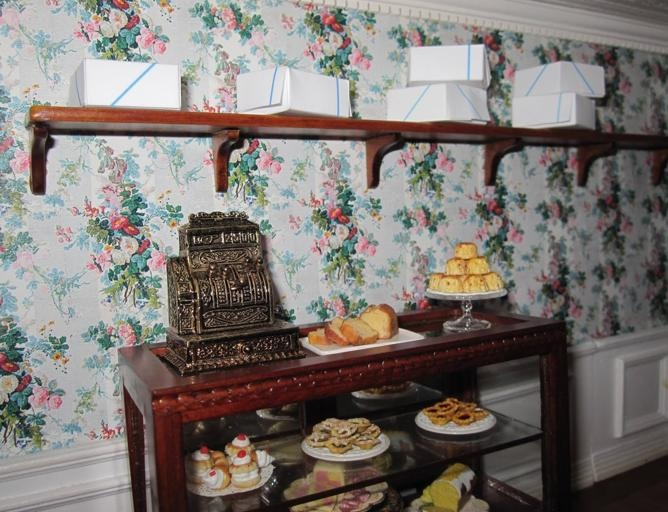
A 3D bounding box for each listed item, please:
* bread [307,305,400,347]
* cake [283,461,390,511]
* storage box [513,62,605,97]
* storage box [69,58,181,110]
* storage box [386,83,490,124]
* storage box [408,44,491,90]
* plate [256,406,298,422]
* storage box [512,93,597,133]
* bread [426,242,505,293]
[{"bbox_3d":[0.081,0.266,2.222,0.156,0.078,0.262,26,15,32],"label":"bread"},{"bbox_3d":[-0.007,0.812,2.153,0.231,0.072,0.241,13,10,32],"label":"cake"},{"bbox_3d":[1.019,-0.787,2.774,0.247,0.112,0.246,-2,3,-42],"label":"storage box"},{"bbox_3d":[-0.684,-0.561,2.013,0.281,0.126,0.193,-1,1,-25],"label":"storage box"},{"bbox_3d":[0.418,-0.619,2.511,0.233,0.086,0.241,3,10,29],"label":"storage box"},{"bbox_3d":[0.471,-0.774,2.571,0.326,0.150,0.176,0,-7,0],"label":"storage box"},{"bbox_3d":[-0.213,0.607,2.321,0.121,0.017,0.122,5,3,42],"label":"plate"},{"bbox_3d":[1.009,-0.643,2.736,0.200,0.121,0.271,-3,10,-21],"label":"storage box"},{"bbox_3d":[0.548,0.056,2.468,0.234,0.135,0.233,0,-1,-8],"label":"bread"}]
